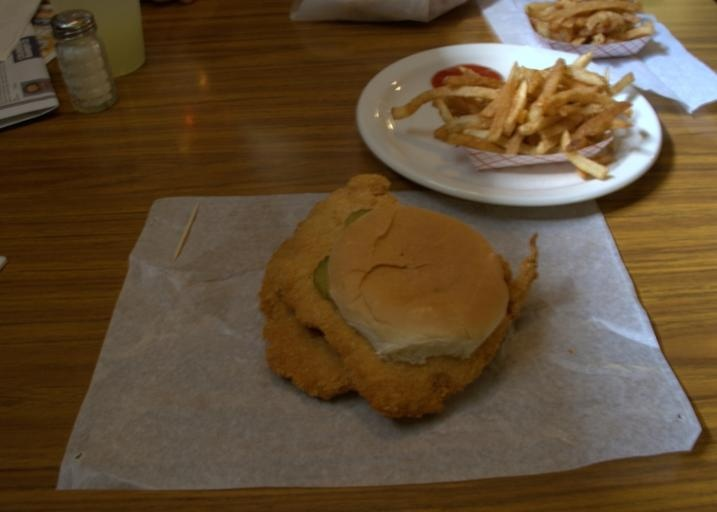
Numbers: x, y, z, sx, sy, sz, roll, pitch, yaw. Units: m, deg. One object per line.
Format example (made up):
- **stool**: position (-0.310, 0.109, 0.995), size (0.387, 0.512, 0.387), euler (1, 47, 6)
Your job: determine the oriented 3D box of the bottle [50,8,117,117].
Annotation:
- **bottle**: position (-0.675, -0.473, 1.706), size (0.156, 0.266, 0.139), euler (-12, 35, -34)
